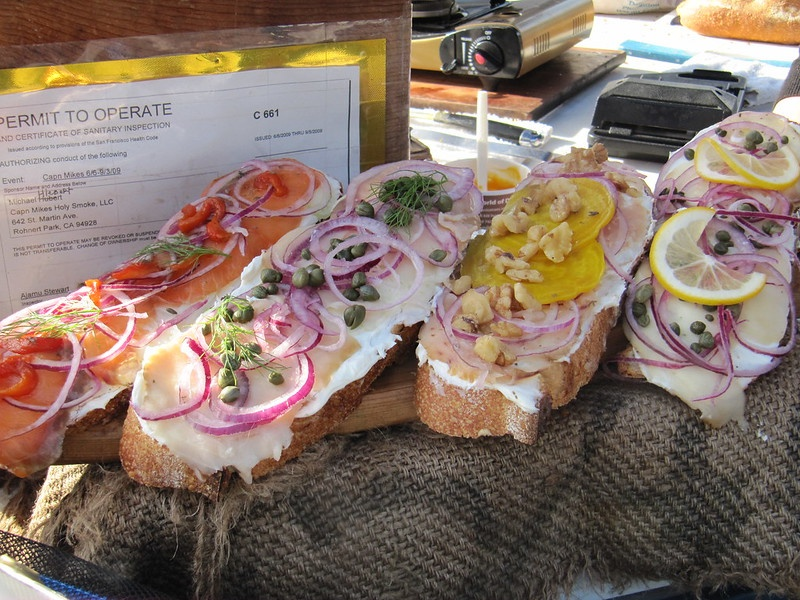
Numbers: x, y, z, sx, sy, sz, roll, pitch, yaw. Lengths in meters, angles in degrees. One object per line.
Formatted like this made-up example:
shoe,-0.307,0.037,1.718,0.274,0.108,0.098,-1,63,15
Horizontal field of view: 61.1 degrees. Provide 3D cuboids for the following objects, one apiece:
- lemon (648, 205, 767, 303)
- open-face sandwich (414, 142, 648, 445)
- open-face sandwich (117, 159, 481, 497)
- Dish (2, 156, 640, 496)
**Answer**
lemon,0.525,-0.069,1.183,0.147,0.109,0.188,-23,49,-20
open-face sandwich,0.288,0.006,1.261,0.307,0.196,0.587,29,70,34
open-face sandwich,-0.105,-0.011,1.166,0.352,0.191,0.746,32,61,28
Dish,-0.006,0.036,1.154,0.949,0.123,0.521,-23,56,-17
